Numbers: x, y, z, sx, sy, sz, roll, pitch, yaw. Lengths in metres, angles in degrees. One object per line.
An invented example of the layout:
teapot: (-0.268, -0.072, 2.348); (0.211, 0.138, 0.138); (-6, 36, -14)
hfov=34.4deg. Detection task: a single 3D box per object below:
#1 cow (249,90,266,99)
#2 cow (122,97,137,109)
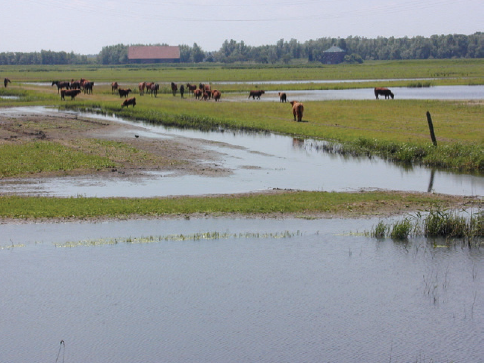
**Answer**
cow: (1.313, -8.198, 73.575); (0.637, 1.187, 2.471); (8, 14, 39)
cow: (-9.083, -6.433, 63.288); (1.090, 0.874, 1.809); (-1, 14, -6)
